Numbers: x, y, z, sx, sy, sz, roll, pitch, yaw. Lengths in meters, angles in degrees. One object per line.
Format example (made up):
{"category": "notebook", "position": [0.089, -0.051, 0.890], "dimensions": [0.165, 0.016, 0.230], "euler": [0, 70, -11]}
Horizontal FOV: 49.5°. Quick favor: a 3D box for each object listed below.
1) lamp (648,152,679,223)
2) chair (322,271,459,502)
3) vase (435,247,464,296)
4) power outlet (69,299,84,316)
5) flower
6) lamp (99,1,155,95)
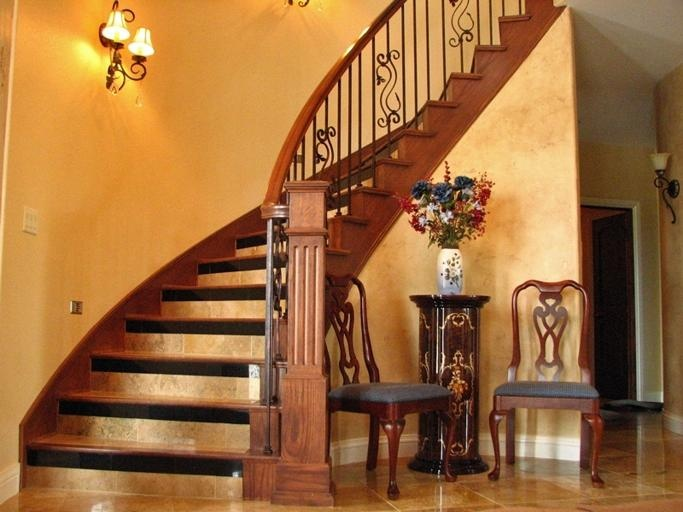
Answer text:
{"category": "lamp", "position": [2.984, -0.630, 6.860], "dimensions": [0.199, 0.653, 0.488], "euler": [2, 3, 12]}
{"category": "chair", "position": [0.257, 0.840, 5.105], "dimensions": [0.851, 1.371, 0.920], "euler": [-1, 4, -37]}
{"category": "vase", "position": [0.809, 0.116, 5.466], "dimensions": [0.214, 0.379, 0.218], "euler": [-1, -1, 39]}
{"category": "power outlet", "position": [-1.932, 0.375, 5.378], "dimensions": [0.011, 0.084, 0.113], "euler": [-3, -6, 20]}
{"category": "flower", "position": [0.793, -0.379, 5.609], "dimensions": [0.646, 0.646, 0.635], "euler": [2, 3, 12]}
{"category": "lamp", "position": [-1.712, -1.682, 5.872], "dimensions": [0.416, 0.833, 0.640], "euler": [0, 3, -19]}
